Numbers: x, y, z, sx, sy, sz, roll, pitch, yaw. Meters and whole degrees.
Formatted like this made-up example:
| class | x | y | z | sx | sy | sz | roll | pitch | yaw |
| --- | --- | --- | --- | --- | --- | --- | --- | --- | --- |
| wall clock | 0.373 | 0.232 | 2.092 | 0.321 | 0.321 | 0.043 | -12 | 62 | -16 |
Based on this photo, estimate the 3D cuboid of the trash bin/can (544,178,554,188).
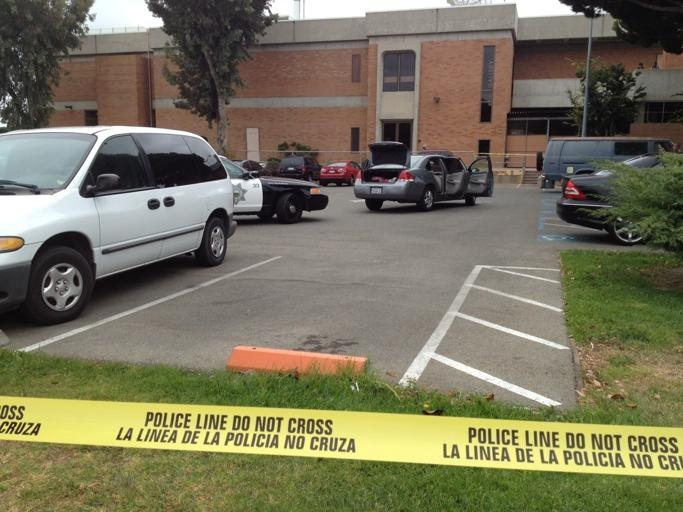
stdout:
| class | x | y | z | sx | sy | sz | roll | pitch | yaw |
| --- | --- | --- | --- | --- | --- | --- | --- | --- | --- |
| trash bin/can | 9.522 | -3.293 | 24.029 | 0.408 | 0.430 | 0.410 | 7 | 22 | 22 |

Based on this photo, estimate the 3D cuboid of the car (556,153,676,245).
| class | x | y | z | sx | sy | sz | roll | pitch | yaw |
| --- | --- | --- | --- | --- | --- | --- | --- | --- | --- |
| car | 5.154 | -0.957 | 10.331 | 1.645 | 1.697 | 6.192 | 5 | 12 | 22 |
